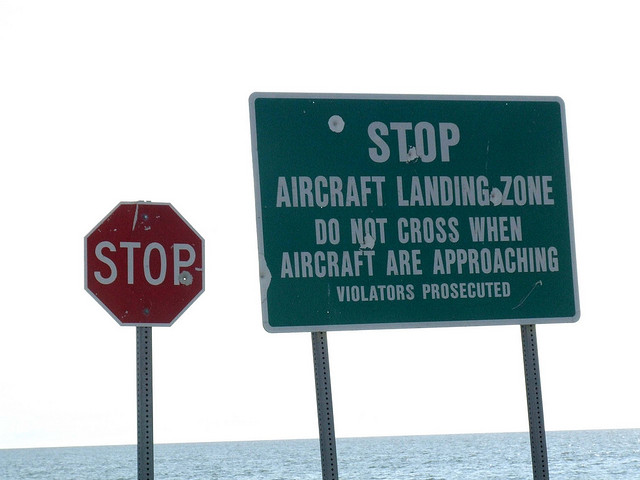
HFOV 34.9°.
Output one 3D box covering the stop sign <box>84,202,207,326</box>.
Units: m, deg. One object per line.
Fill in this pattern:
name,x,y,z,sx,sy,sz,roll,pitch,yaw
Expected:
stop sign,-1.713,0.267,9.764,1.032,1.151,0.046,-1,-4,-11
